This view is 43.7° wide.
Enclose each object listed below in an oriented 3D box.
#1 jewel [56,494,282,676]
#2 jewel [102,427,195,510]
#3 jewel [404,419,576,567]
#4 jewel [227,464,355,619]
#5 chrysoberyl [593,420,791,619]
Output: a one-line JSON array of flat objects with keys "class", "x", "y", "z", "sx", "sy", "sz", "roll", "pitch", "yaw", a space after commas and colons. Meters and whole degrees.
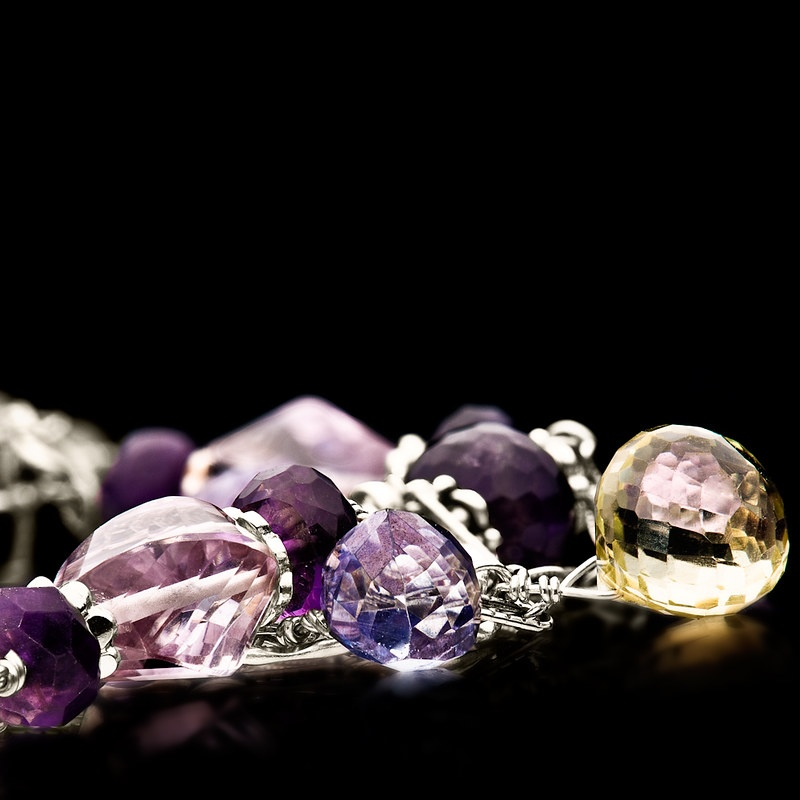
[{"class": "jewel", "x": -0.170, "y": 0.128, "z": 0.689, "sx": 0.124, "sy": 0.115, "sz": 0.169, "roll": 1, "pitch": -8, "yaw": 36}, {"class": "jewel", "x": -0.285, "y": 0.074, "z": 1.147, "sx": 0.088, "sy": 0.103, "sz": 0.103, "roll": 21, "pitch": 11, "yaw": -17}, {"class": "jewel", "x": 0.080, "y": 0.085, "z": 0.972, "sx": 0.143, "sy": 0.142, "sz": 0.129, "roll": -5, "pitch": -3, "yaw": 5}, {"class": "jewel", "x": -0.100, "y": 0.112, "z": 0.744, "sx": 0.100, "sy": 0.098, "sz": 0.093, "roll": -4, "pitch": -4, "yaw": 21}, {"class": "chrysoberyl", "x": 0.226, "y": 0.085, "z": 0.740, "sx": 0.146, "sy": 0.124, "sz": 0.122, "roll": -6, "pitch": 20, "yaw": -1}]
